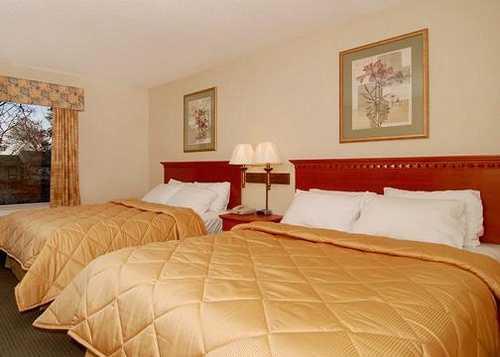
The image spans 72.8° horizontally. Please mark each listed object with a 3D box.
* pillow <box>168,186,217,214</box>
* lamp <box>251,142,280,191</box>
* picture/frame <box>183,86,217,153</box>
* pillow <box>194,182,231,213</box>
[{"bbox_3d":[-0.742,0.262,4.585,0.420,0.134,0.438,-21,25,-24],"label":"pillow"},{"bbox_3d":[0.224,-0.142,4.309,0.328,0.596,0.344,2,-10,-25],"label":"lamp"},{"bbox_3d":[-0.785,-0.962,5.405,0.046,1.346,1.079,0,-1,-44],"label":"picture/frame"},{"bbox_3d":[-0.479,0.238,4.737,0.385,0.385,0.117,-1,-16,44],"label":"pillow"}]
